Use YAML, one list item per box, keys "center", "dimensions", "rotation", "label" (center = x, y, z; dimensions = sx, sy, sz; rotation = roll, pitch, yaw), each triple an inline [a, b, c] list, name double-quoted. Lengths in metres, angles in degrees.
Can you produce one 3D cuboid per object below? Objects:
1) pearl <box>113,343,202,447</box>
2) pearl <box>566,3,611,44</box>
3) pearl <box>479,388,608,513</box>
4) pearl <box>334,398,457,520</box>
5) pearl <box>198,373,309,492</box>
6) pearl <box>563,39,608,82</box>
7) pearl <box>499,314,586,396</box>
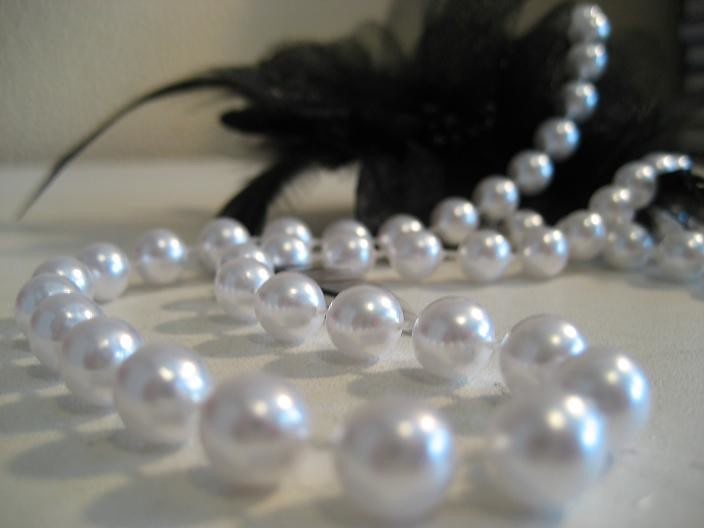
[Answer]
- center: [-0.196, 0.137, 0.822]
  dimensions: [0.089, 0.110, 0.094]
  rotation: [-2, -1, -4]
  label: "pearl"
- center: [0.417, -0.422, 1.346]
  dimensions: [0.066, 0.084, 0.068]
  rotation: [-2, -4, -4]
  label: "pearl"
- center: [0.193, 0.199, 0.740]
  dimensions: [0.116, 0.099, 0.144]
  rotation: [13, -24, -37]
  label: "pearl"
- center: [0.039, 0.184, 0.707]
  dimensions: [0.101, 0.078, 0.070]
  rotation: [0, 34, -1]
  label: "pearl"
- center: [-0.098, 0.162, 0.762]
  dimensions: [0.095, 0.115, 0.100]
  rotation: [9, -1, 5]
  label: "pearl"
- center: [0.414, -0.358, 1.346]
  dimensions: [0.060, 0.077, 0.062]
  rotation: [-2, -3, 1]
  label: "pearl"
- center: [0.220, 0.108, 0.866]
  dimensions: [0.089, 0.110, 0.093]
  rotation: [-3, -11, -2]
  label: "pearl"
